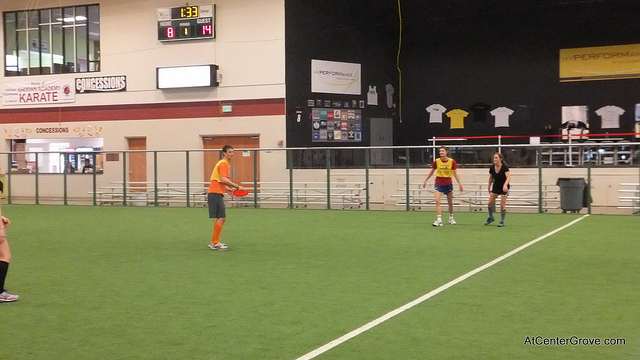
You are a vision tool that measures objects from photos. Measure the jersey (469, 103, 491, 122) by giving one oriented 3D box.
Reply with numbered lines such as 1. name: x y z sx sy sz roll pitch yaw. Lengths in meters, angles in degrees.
1. jersey: 9.909 -4.205 36.477 1.424 1.081 0.145 1 10 23

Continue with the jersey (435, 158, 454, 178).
1. jersey: 4.820 -0.480 23.032 0.856 0.765 0.498 3 11 23

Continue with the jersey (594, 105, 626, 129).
1. jersey: 16.985 -3.706 34.668 1.869 1.349 0.156 -2 3 -5

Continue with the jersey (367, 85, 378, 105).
1. jersey: 3.011 -4.954 34.481 0.248 1.115 1.072 10 18 31

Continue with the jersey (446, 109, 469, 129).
1. jersey: 8.552 -3.865 36.828 1.502 1.154 0.110 1 11 19

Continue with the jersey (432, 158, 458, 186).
1. jersey: 4.901 -0.313 23.436 1.273 1.251 0.951 2 7 13

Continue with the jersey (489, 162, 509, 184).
1. jersey: 6.921 -0.251 22.951 1.106 0.902 0.584 -1 1 32

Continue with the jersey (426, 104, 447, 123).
1. jersey: 7.283 -4.210 37.061 1.435 1.118 0.099 0 -2 5

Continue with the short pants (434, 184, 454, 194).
1. short pants: 4.844 0.378 23.176 0.703 0.400 0.369 0 -8 5

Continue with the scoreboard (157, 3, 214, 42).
1. scoreboard: -7.683 -8.958 33.581 3.394 2.013 0.592 3 16 11
